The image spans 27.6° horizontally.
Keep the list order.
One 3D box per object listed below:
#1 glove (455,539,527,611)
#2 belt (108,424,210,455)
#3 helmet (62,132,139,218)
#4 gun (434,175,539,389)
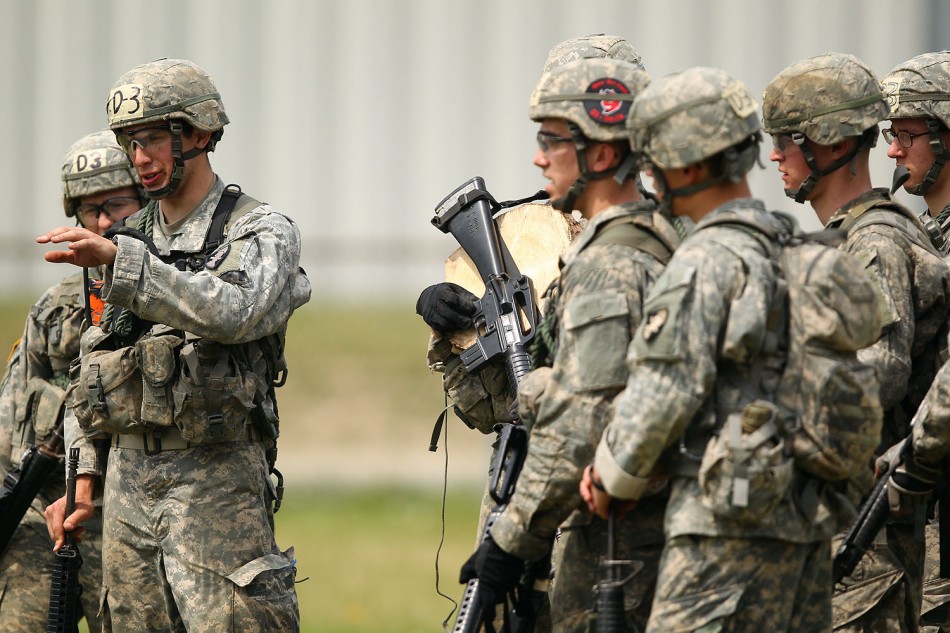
[{"bbox_3d":[0.114,1.674,12.719,0.563,0.497,0.362,0,-3,6],"label":"glove"},{"bbox_3d":[-2.284,0.890,13.773,0.355,0.245,0.353,4,-5,-4],"label":"belt"},{"bbox_3d":[-2.906,-1.127,15.095,0.456,0.626,0.620,-10,-2,1],"label":"helmet"},{"bbox_3d":[0.139,0.015,14.242,0.697,1.797,0.350,-18,1,29],"label":"gun"}]
